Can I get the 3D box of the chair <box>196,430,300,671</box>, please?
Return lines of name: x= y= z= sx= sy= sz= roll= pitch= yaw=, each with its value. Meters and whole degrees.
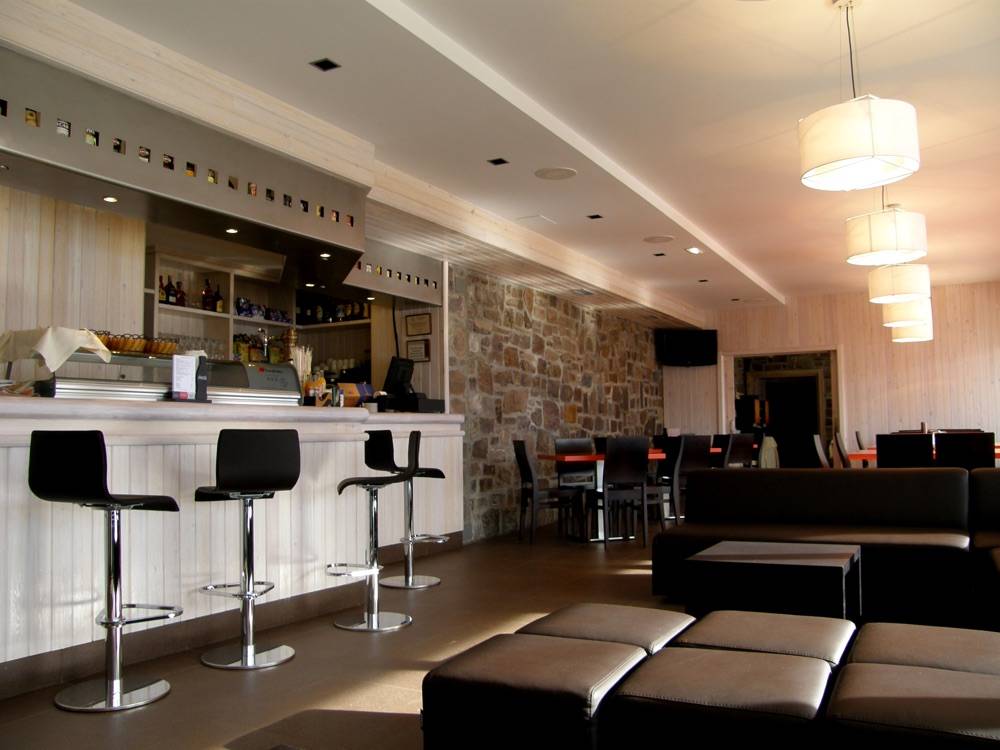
chair: x=-1.435 y=0.945 z=4.270 sx=0.558 sy=1.294 sz=0.601 roll=-1 pitch=-1 yaw=-21

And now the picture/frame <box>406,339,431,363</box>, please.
picture/frame: x=-0.868 y=-0.275 z=8.134 sx=0.323 sy=0.240 sz=0.035 roll=2 pitch=3 yaw=34

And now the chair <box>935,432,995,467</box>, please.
chair: x=4.253 y=0.675 z=6.774 sx=0.358 sy=0.284 sz=0.184 roll=-1 pitch=-2 yaw=36

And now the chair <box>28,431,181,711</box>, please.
chair: x=-1.911 y=0.933 z=3.694 sx=0.787 sy=1.335 sz=0.524 roll=-2 pitch=-1 yaw=37

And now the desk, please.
desk: x=1.559 y=1.141 z=4.251 sx=0.688 sy=0.363 sz=0.634 roll=-1 pitch=-3 yaw=27

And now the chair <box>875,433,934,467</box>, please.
chair: x=3.786 y=0.694 z=6.920 sx=0.383 sy=0.309 sz=0.189 roll=0 pitch=1 yaw=27

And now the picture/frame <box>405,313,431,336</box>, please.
picture/frame: x=-0.877 y=-0.565 z=8.205 sx=0.302 sy=0.183 sz=0.024 roll=-3 pitch=-8 yaw=33

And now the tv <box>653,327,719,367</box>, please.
tv: x=3.401 y=-0.497 z=13.452 sx=1.384 sy=0.775 sz=0.700 roll=1 pitch=3 yaw=18

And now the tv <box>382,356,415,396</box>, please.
tv: x=-0.979 y=0.007 z=7.361 sx=0.232 sy=0.365 sz=0.392 roll=23 pitch=3 yaw=30

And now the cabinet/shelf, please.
cabinet/shelf: x=-2.637 y=-0.120 z=7.955 sx=1.342 sy=1.536 sz=2.582 roll=-5 pitch=-7 yaw=33

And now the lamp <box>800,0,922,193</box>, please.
lamp: x=2.147 y=-1.403 z=4.454 sx=0.637 sy=0.431 sz=0.536 roll=-2 pitch=-1 yaw=21
